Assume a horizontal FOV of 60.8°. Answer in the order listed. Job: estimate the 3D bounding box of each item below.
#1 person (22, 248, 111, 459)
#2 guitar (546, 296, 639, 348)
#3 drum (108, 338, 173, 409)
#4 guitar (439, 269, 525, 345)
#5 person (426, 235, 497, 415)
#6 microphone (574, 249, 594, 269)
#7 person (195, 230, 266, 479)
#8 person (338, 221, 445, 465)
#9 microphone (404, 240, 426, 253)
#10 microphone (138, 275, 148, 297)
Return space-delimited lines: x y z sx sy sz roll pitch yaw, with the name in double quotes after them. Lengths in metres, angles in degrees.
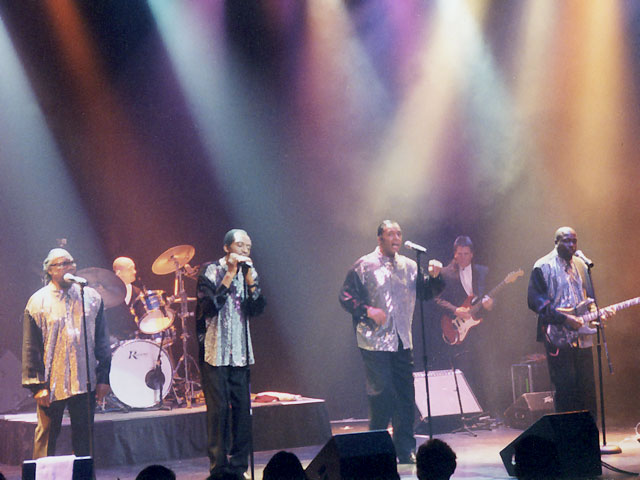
-2.378 1.043 5.098 0.713 1.922 0.410 -6 -2 4 "person"
2.886 0.846 5.782 0.997 0.526 0.362 -6 -3 -15 "guitar"
-2.352 1.779 7.249 0.773 0.889 0.823 22 -25 -31 "drum"
2.352 1.075 8.253 1.083 1.020 0.545 -8 -3 14 "guitar"
2.155 1.323 8.489 1.002 2.835 0.308 -3 -10 -25 "person"
2.768 0.213 5.773 0.133 0.210 0.533 -8 -4 23 "microphone"
-0.760 0.994 4.785 0.601 1.601 0.498 -5 -3 -15 "person"
0.678 1.045 5.711 0.839 2.234 0.471 -6 -2 1 "person"
1.228 0.070 7.052 0.282 0.091 0.087 29 27 -8 "microphone"
-2.801 0.722 8.591 0.058 0.247 0.119 -24 3 -18 "microphone"
